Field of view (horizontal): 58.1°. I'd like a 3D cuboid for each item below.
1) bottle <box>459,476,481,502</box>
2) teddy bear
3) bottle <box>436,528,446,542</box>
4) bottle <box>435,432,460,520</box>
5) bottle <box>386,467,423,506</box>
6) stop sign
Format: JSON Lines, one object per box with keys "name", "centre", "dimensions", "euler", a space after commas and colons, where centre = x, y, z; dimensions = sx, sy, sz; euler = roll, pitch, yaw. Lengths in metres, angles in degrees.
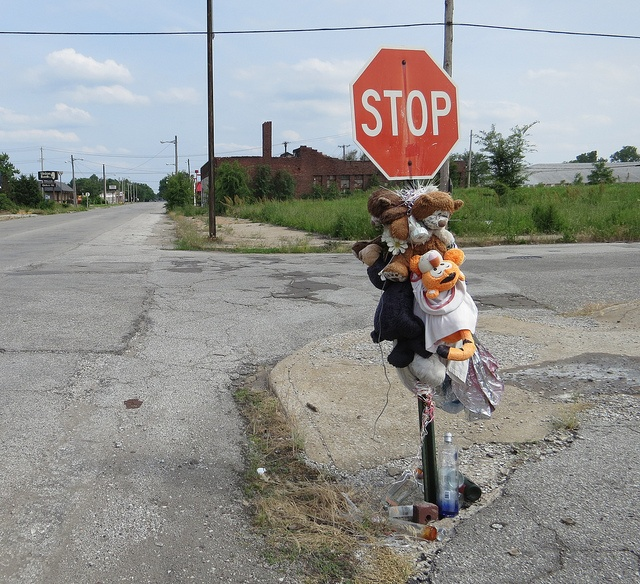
{"name": "bottle", "centre": [0.813, 1.074, 3.186], "dimensions": [0.075, 0.059, 0.153], "euler": [17, 9, -22]}
{"name": "teddy bear", "centre": [0.507, 0.003, 2.974], "dimensions": [0.576, 1.034, 0.433], "euler": [1, 13, 6]}
{"name": "bottle", "centre": [0.618, 1.238, 2.942], "dimensions": [0.044, 0.045, 0.080], "euler": [3, 10, 5]}
{"name": "bottle", "centre": [0.691, 0.973, 3.091], "dimensions": [0.109, 0.414, 0.176], "euler": [2, 13, 10]}
{"name": "bottle", "centre": [0.463, 1.093, 3.190], "dimensions": [0.287, 0.161, 0.119], "euler": [-13, 18, -42]}
{"name": "stop sign", "centre": [0.495, -1.047, 3.379], "dimensions": [0.461, 0.754, 0.535], "euler": [12, 18, 41]}
